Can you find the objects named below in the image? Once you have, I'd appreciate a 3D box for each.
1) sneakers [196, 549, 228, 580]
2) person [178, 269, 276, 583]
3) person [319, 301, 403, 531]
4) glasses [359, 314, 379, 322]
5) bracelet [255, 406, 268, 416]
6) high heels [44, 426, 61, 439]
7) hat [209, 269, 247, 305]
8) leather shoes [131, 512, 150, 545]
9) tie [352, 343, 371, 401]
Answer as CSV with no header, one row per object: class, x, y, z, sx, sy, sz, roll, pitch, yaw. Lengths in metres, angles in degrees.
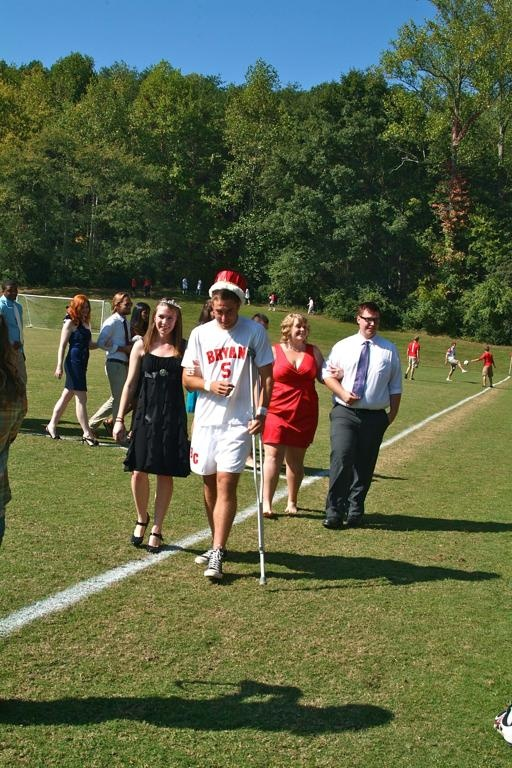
sneakers,-0.282,1.078,5.236,0.178,0.176,0.405,6,4,-3
person,-0.172,0.229,5.347,0.518,1.862,0.732,4,5,-23
person,0.846,0.239,6.985,0.649,1.805,0.664,6,5,-7
glasses,0.912,-0.527,6.977,0.103,0.031,0.099,6,-4,-12
bracelet,0.036,0.168,5.231,0.058,0.041,0.061,0,-2,44
high heels,-2.359,0.574,9.892,0.102,0.122,0.281,6,12,1
hat,-0.169,-0.611,5.332,0.223,0.194,0.325,6,4,-2
leather shoes,-0.782,0.992,5.793,0.088,0.226,0.066,5,-21,2
tie,0.850,-0.114,6.936,0.114,0.463,0.116,6,5,-2
